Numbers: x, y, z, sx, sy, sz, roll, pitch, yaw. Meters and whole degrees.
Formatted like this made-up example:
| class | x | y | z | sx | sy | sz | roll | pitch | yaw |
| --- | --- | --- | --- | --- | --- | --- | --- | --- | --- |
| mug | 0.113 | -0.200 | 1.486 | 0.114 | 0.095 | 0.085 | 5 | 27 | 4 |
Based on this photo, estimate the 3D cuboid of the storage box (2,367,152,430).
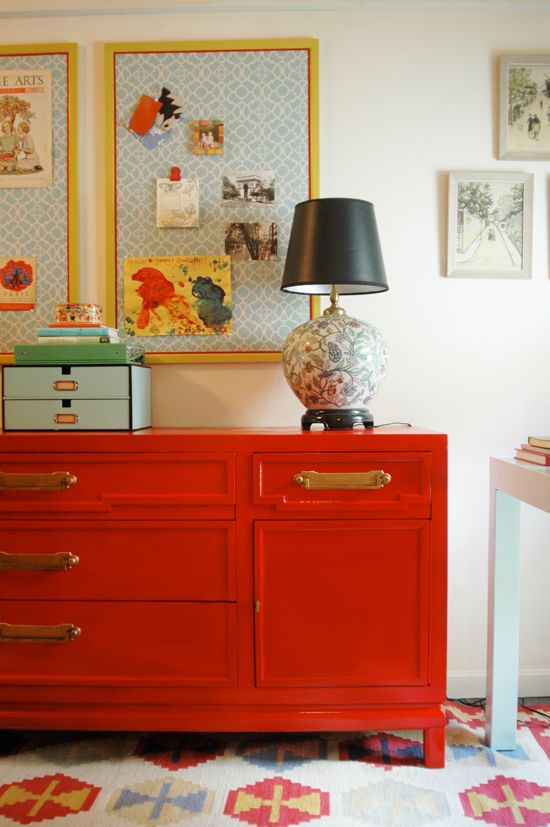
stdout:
| class | x | y | z | sx | sy | sz | roll | pitch | yaw |
| --- | --- | --- | --- | --- | --- | --- | --- | --- | --- |
| storage box | -0.521 | -0.037 | 1.861 | 0.266 | 0.125 | 0.190 | 0 | -1 | 2 |

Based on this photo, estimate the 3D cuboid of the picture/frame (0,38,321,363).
| class | x | y | z | sx | sy | sz | roll | pitch | yaw |
| --- | --- | --- | --- | --- | --- | --- | --- | --- | --- |
| picture/frame | -0.298 | -0.633 | 2.031 | 0.996 | 1.331 | 0.031 | 0 | 0 | 1 |

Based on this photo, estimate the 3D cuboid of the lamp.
| class | x | y | z | sx | sy | sz | roll | pitch | yaw |
| --- | --- | --- | --- | --- | --- | --- | --- | --- | --- |
| lamp | 0.151 | -0.260 | 1.856 | 0.270 | 0.597 | 0.285 | 0 | 4 | 2 |
